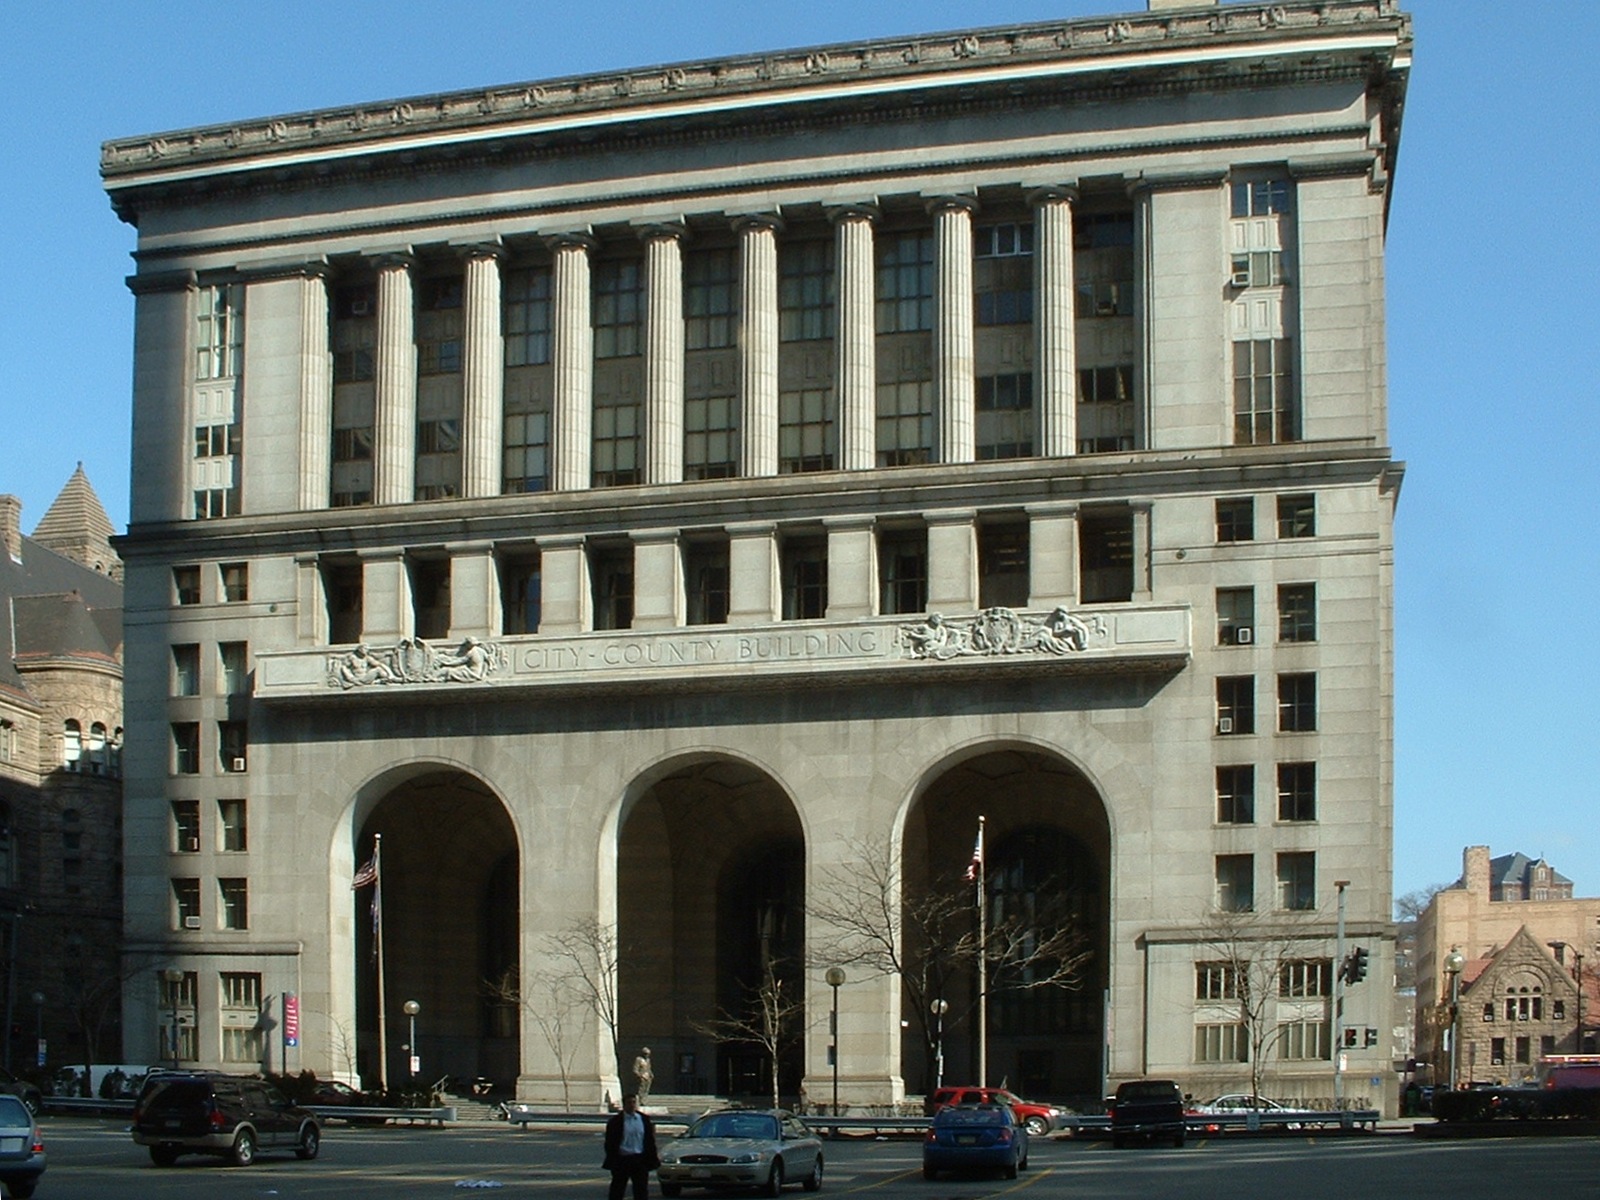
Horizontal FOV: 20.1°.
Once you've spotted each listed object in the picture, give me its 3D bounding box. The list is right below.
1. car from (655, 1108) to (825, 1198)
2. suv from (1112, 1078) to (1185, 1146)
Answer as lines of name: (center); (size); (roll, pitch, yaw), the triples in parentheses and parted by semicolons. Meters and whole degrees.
car: (-2.704, 21.463, 177.453); (6.401, 3.572, 2.989); (1, -12, -11)
suv: (14.777, 22.076, 197.632); (3.008, 2.961, 1.914); (-2, -12, 6)
